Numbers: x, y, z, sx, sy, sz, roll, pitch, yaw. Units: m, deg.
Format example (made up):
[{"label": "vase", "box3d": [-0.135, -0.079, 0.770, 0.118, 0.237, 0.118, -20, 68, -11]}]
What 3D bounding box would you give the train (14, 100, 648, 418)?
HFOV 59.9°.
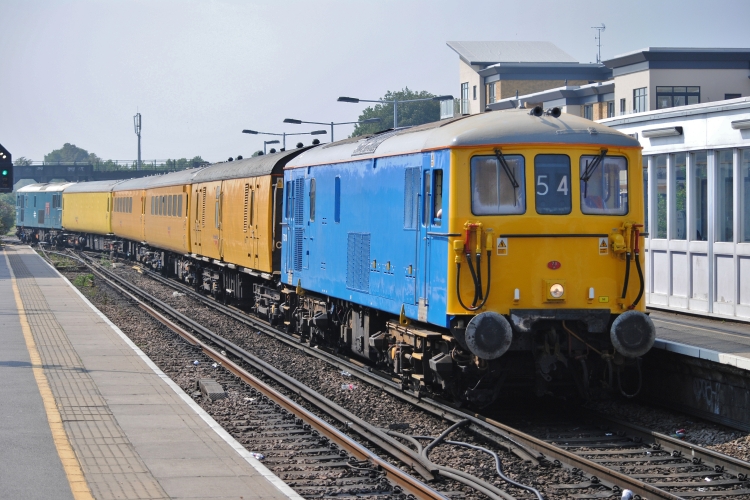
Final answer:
[{"label": "train", "box3d": [-4.547, -0.757, 27.541, 4.954, 6.123, 38.123, -1, 2, -19]}]
